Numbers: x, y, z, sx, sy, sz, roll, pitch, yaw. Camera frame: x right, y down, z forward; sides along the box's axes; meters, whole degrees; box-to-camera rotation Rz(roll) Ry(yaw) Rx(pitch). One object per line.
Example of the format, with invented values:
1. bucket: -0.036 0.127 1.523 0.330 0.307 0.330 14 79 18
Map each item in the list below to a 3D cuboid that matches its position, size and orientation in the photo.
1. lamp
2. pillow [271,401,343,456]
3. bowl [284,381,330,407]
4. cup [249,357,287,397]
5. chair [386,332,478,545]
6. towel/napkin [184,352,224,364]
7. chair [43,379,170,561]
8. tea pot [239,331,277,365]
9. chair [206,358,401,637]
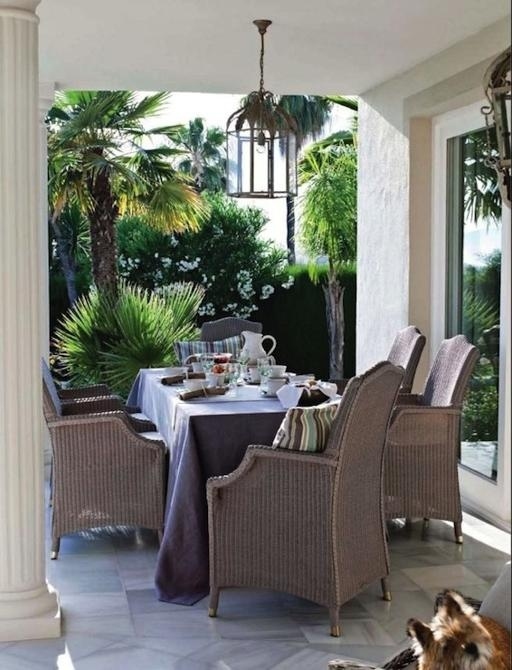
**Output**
1. lamp: 0.028 -1.147 3.291 0.361 0.882 0.302 -4 17 -8
2. pillow: 0.165 0.312 2.147 0.221 0.173 0.144 0 0 2
3. bowl: 0.250 0.279 2.929 0.127 0.050 0.131 0 5 0
4. cup: 0.080 0.217 3.243 0.137 0.100 0.219 2 10 3
5. chair: 0.745 0.477 3.330 0.598 1.006 0.595 -2 11 -12
6. towel/napkin: -0.319 0.140 3.791 0.177 0.083 0.107 -3 5 3
7. chair: -0.710 0.670 3.342 0.658 0.906 0.617 -1 3 -12
8. tea pot: 0.028 0.090 3.973 0.264 0.266 0.188 3 -6 -17
9. chair: 0.176 0.555 2.403 0.674 0.894 0.694 -1 2 -26
